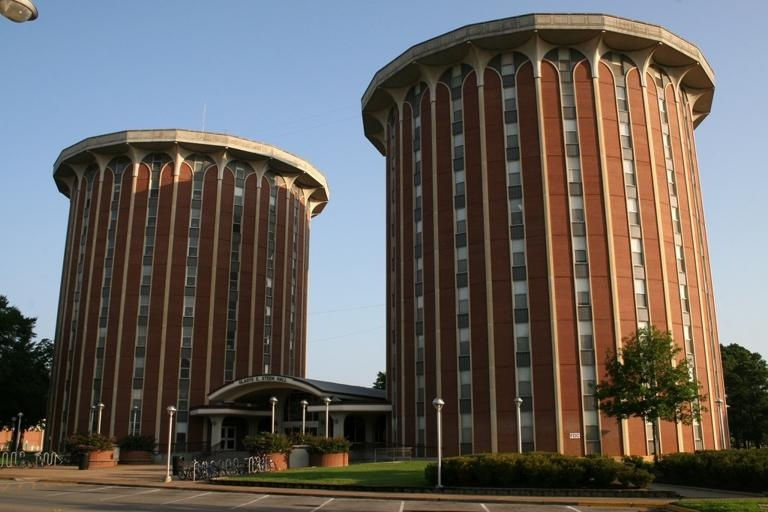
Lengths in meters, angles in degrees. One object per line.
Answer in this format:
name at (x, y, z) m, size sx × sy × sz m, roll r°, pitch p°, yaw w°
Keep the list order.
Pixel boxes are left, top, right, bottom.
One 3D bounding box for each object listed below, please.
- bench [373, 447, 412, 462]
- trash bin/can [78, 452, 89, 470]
bench at (0.816, 19.860, 79.994) m, size 2.205 × 1.359 × 5.309 m, roll 9°, pitch -20°, yaw -32°
trash bin/can at (-28.822, 19.671, 76.426) m, size 0.751 × 1.576 × 0.839 m, roll 7°, pitch -20°, yaw -26°
